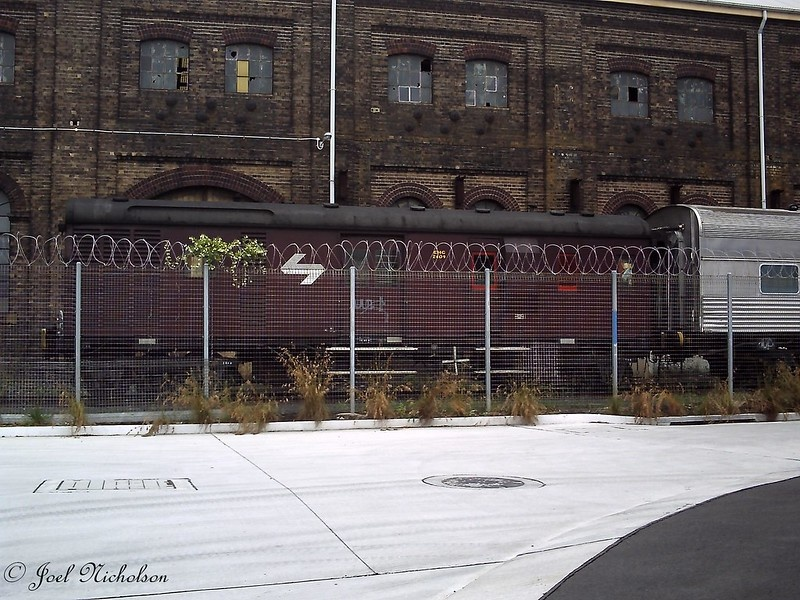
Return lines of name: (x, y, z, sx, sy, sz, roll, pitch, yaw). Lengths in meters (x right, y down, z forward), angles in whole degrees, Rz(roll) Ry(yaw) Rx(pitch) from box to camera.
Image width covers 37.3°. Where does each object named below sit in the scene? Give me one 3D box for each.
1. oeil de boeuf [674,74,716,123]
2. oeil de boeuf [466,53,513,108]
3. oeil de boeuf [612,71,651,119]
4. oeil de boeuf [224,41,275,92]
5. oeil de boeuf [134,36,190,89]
oeil de boeuf: (8.632, -5.914, 34.942, 1.334, 1.471, 0.155, 1, -2, -18)
oeil de boeuf: (2.477, -6.148, 33.523, 1.417, 1.562, 0.160, 2, -6, -15)
oeil de boeuf: (6.638, -5.926, 34.506, 1.258, 1.376, 0.078, 2, -8, -11)
oeil de boeuf: (-4.153, -6.310, 32.183, 1.269, 1.400, 0.092, 1, -2, -15)
oeil de boeuf: (-6.448, -6.296, 31.757, 1.289, 1.425, 0.057, 1, -6, -13)
